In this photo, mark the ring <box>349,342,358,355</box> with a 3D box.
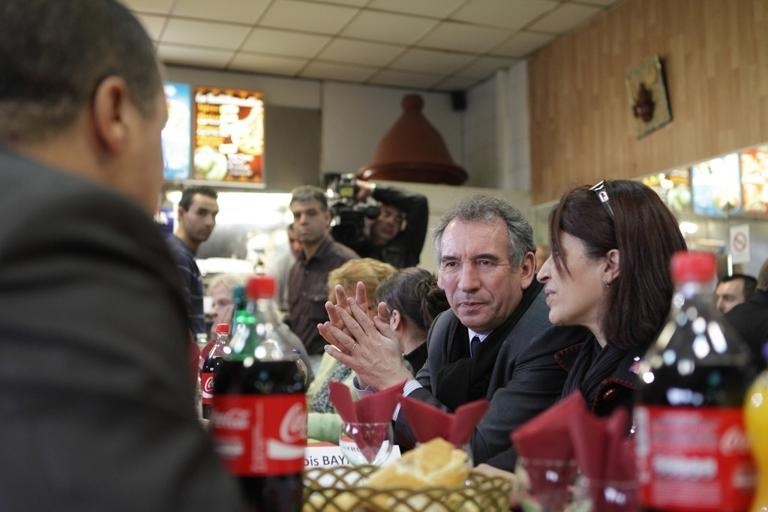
[{"bbox_3d":[-0.068,0.210,1.420,0.025,0.012,0.008,13,-17,49],"label":"ring"}]

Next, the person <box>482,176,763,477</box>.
[{"bbox_3d":[0.642,0.232,1.924,0.650,1.155,0.602,1,-10,18],"label":"person"}]

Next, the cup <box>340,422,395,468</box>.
[{"bbox_3d":[-0.029,0.312,1.048,0.086,0.087,0.084,-1,-6,0],"label":"cup"}]

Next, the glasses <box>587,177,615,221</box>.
[{"bbox_3d":[0.510,-0.137,1.515,0.024,0.087,0.050,-28,-1,5],"label":"glasses"}]
